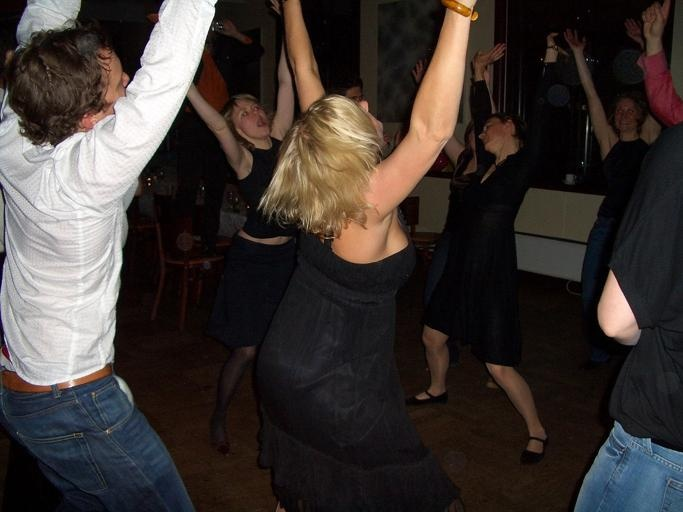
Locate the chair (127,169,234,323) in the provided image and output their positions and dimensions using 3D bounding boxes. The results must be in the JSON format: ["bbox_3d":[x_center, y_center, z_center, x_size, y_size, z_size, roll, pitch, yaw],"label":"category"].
[{"bbox_3d":[-1.464,-0.040,4.981,0.866,1.437,0.939,30,35,33],"label":"chair"}]

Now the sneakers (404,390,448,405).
[{"bbox_3d":[0.557,0.933,3.630,0.279,0.101,0.104,2,-5,-1],"label":"sneakers"}]
